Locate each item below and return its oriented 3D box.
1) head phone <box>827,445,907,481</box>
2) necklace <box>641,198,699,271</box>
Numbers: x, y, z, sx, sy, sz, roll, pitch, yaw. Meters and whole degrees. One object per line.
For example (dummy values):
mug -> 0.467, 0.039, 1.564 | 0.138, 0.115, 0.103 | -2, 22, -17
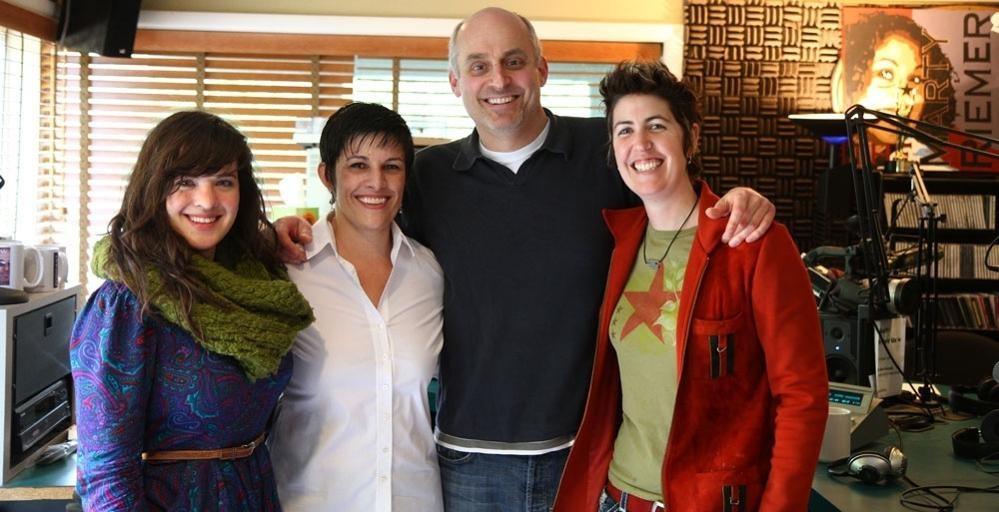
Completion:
head phone -> 1.944, 1.070, 3.744 | 0.353, 0.128, 0.324 | -8, -10, 10
necklace -> 0.844, -0.094, 3.559 | 0.263, 0.328, 0.089 | 18, -2, 41
